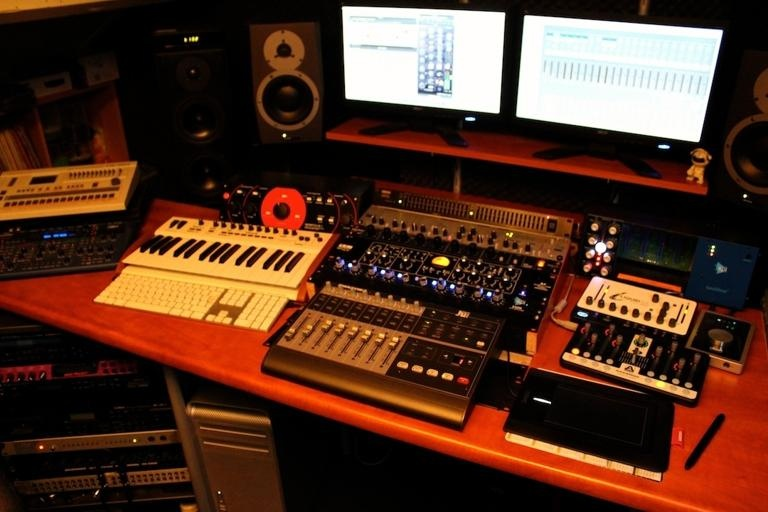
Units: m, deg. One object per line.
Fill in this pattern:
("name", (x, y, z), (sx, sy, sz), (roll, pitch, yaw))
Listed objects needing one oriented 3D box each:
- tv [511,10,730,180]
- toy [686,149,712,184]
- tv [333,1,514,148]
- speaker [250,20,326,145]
("tv", (0.933, -0.670, 2.479), (0.837, 0.575, 0.229), (21, 35, 38))
("toy", (1.256, -0.353, 2.399), (0.085, 0.126, 0.092), (-29, 41, -28))
("tv", (0.201, -0.818, 2.679), (0.709, 0.462, 0.212), (9, 39, 14))
("speaker", (-0.489, -0.859, 2.910), (0.351, 0.542, 0.315), (-15, 34, -21))
